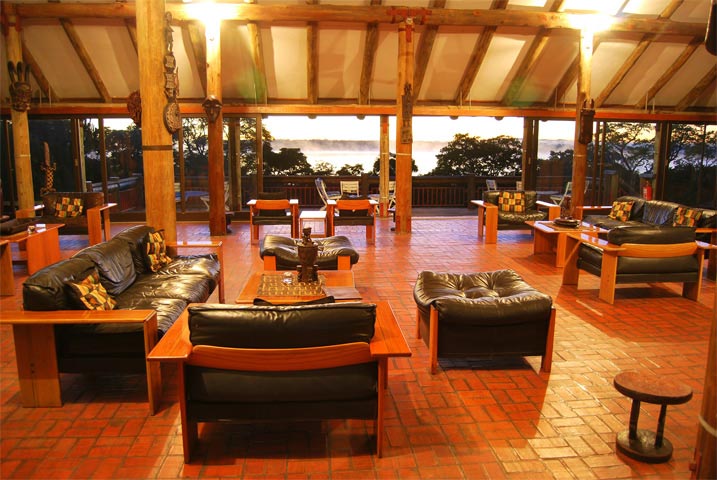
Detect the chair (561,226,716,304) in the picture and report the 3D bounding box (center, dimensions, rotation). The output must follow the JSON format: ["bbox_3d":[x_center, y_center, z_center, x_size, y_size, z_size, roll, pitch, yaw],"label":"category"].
[{"bbox_3d":[3.933,0.277,7.141,1.689,0.648,1.344,0,6,-6],"label":"chair"}]

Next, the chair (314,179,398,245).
[{"bbox_3d":[-0.296,-0.644,10.825,1.138,1.121,2.400,-3,11,-7],"label":"chair"}]

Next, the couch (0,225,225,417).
[{"bbox_3d":[-2.494,0.811,5.024,0.905,0.569,1.960,-1,13,-7],"label":"couch"}]

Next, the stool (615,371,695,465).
[{"bbox_3d":[2.369,1.417,4.128,0.557,0.609,0.445,-9,15,-31],"label":"stool"}]

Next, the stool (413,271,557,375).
[{"bbox_3d":[1.280,0.856,5.495,1.370,0.781,1.171,-1,12,2],"label":"stool"}]

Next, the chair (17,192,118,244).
[{"bbox_3d":[-5.781,-0.461,9.944,1.523,0.773,0.794,2,23,0],"label":"chair"}]

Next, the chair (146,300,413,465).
[{"bbox_3d":[-0.690,1.079,4.382,2.089,0.767,1.434,-1,16,-2],"label":"chair"}]

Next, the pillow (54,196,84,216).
[{"bbox_3d":[-5.813,-0.655,9.950,0.520,0.357,0.105,-2,-3,-1],"label":"pillow"}]

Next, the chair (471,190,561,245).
[{"bbox_3d":[3.327,-0.575,10.894,1.674,0.746,1.048,-4,21,-6],"label":"chair"}]

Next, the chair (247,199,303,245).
[{"bbox_3d":[-1.821,-0.403,10.433,1.055,0.747,0.694,-1,2,-5],"label":"chair"}]
